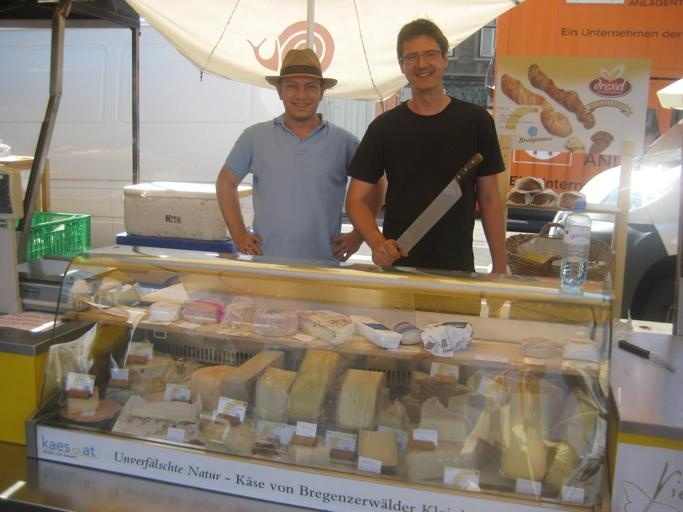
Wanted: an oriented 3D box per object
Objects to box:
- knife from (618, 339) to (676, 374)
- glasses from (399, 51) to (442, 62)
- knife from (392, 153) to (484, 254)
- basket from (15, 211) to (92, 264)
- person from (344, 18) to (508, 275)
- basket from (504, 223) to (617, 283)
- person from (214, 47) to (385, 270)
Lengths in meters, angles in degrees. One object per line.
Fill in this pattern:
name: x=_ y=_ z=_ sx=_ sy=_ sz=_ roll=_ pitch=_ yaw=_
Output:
knife: x=1.271 y=0.410 z=2.387 sx=0.101 sy=0.073 sz=0.265 roll=-1 pitch=5 yaw=-31
glasses: x=0.406 y=-1.012 z=2.923 sx=0.204 sy=0.064 sz=0.064 roll=3 pitch=4 yaw=11
knife: x=0.482 y=-0.283 z=3.002 sx=0.088 sy=0.626 sz=0.045 roll=24 pitch=26 yaw=-24
basket: x=-1.765 y=-0.109 z=3.479 sx=0.314 sy=0.295 sz=0.341 roll=3 pitch=6 yaw=10
person: x=0.467 y=-0.220 z=3.200 sx=0.854 sy=2.023 sz=0.526 roll=1 pitch=23 yaw=16
basket: x=1.210 y=0.000 z=3.203 sx=0.542 sy=0.240 sz=0.430 roll=5 pitch=10 yaw=23
person: x=-0.319 y=-0.478 z=3.319 sx=0.577 sy=1.731 sz=0.578 roll=0 pitch=3 yaw=3
